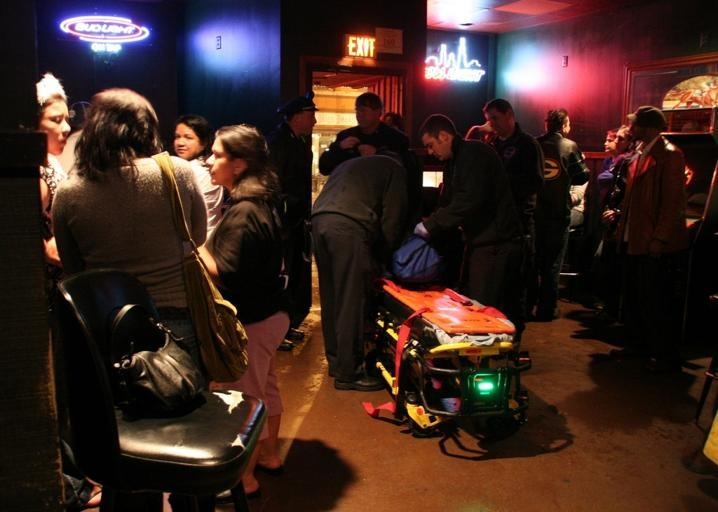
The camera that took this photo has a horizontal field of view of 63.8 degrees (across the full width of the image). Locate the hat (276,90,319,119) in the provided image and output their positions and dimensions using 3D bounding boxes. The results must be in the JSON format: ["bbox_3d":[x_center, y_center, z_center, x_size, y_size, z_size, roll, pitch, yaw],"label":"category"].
[{"bbox_3d":[-0.592,-1.509,5.754,0.338,0.162,0.248,-11,23,-21],"label":"hat"}]

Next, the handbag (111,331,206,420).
[{"bbox_3d":[-0.816,0.484,2.309,0.167,0.283,0.290,-32,-10,33],"label":"handbag"}]

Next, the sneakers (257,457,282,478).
[{"bbox_3d":[-0.543,1.295,3.579,0.175,0.070,0.067,11,10,38],"label":"sneakers"}]

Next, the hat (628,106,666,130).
[{"bbox_3d":[2.623,-1.239,5.305,0.319,0.166,0.239,26,41,30],"label":"hat"}]

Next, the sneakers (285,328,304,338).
[{"bbox_3d":[-0.685,0.802,6.045,0.214,0.089,0.071,-3,7,-10],"label":"sneakers"}]

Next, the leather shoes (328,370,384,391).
[{"bbox_3d":[-0.005,1.008,4.825,0.351,0.144,0.170,-2,4,0],"label":"leather shoes"}]

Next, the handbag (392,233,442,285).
[{"bbox_3d":[0.450,0.038,4.487,0.291,0.344,0.318,-10,16,-40],"label":"handbag"}]

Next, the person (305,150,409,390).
[{"bbox_3d":[-0.004,0.133,4.796,0.796,1.887,0.534,0,13,0],"label":"person"}]

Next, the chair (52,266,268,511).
[{"bbox_3d":[-0.842,0.423,2.728,0.899,1.231,0.912,5,10,5],"label":"chair"}]
